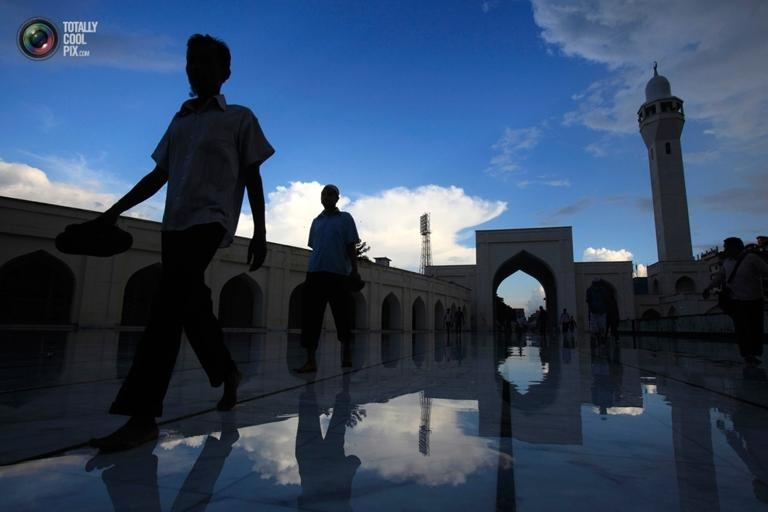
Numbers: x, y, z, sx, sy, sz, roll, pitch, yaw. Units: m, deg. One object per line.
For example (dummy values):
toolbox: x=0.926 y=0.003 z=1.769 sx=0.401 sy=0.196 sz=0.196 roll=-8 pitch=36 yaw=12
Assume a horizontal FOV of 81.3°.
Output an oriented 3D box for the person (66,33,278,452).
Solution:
person: x=-1.125 y=-0.227 z=2.631 sx=0.430 sy=2.375 sz=0.879 roll=-3 pitch=-6 yaw=35

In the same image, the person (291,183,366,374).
person: x=-0.523 y=0.194 z=4.669 sx=0.616 sy=1.958 sz=0.827 roll=1 pitch=-5 yaw=-3
